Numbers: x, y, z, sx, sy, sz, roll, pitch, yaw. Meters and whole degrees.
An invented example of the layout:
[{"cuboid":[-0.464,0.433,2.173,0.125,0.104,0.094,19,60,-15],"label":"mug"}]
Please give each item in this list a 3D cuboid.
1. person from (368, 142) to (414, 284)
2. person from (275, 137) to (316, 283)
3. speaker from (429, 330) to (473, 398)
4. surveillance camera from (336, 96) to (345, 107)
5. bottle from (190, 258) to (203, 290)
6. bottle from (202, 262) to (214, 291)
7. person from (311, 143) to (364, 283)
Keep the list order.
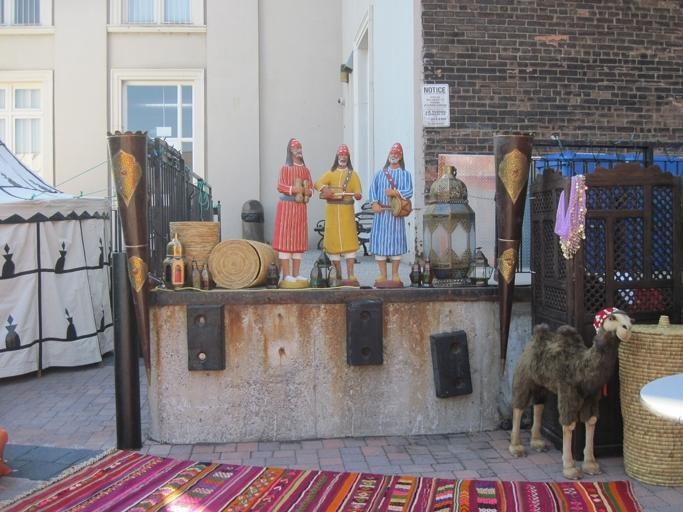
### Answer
[{"cuboid":[0.632,-0.547,13.133,0.551,1.741,0.709,-1,4,2],"label":"person"},{"cuboid":[-0.630,-0.602,13.012,0.541,1.695,0.376,-2,4,-20],"label":"person"},{"cuboid":[1.300,1.303,12.342,0.540,1.005,0.310,-7,6,-3],"label":"speaker"},{"cuboid":[-0.016,-3.390,22.630,0.155,0.334,0.199,-1,15,-6],"label":"surveillance camera"},{"cuboid":[-1.751,0.229,12.348,0.119,0.330,0.156,-2,4,-11],"label":"bottle"},{"cuboid":[-1.601,0.252,12.346,0.179,0.303,0.121,-3,5,-23],"label":"bottle"},{"cuboid":[-0.024,-0.561,13.162,0.564,1.655,0.379,-2,4,-10],"label":"person"}]
